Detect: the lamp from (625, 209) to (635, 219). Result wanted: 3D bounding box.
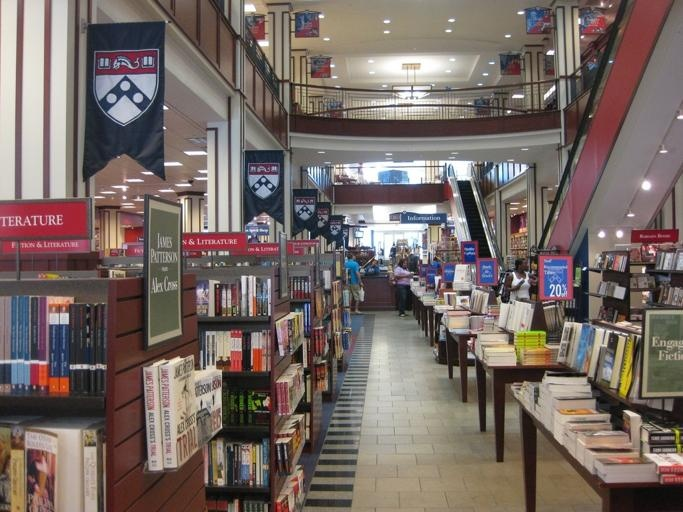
[{"bbox_3d":[4.775,-0.680,10.791,0.115,0.139,0.127,1,1,-4],"label":"lamp"}]

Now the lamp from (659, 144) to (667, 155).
[{"bbox_3d":[4.570,-1.493,9.266,0.090,0.108,0.092,0,0,-22],"label":"lamp"}]

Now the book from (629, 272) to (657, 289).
[{"bbox_3d":[4.496,0.389,9.737,0.415,0.241,0.310,-4,-8,39],"label":"book"}]

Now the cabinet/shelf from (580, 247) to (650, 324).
[{"bbox_3d":[4.142,0.416,9.812,0.585,1.207,1.167,1,-3,-7],"label":"cabinet/shelf"}]

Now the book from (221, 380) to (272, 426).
[{"bbox_3d":[-0.695,1.108,4.784,0.231,0.362,0.345,1,0,-2],"label":"book"}]

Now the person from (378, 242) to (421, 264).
[{"bbox_3d":[2.257,-0.178,24.826,1.124,0.619,1.731,0,-2,-1],"label":"person"}]
